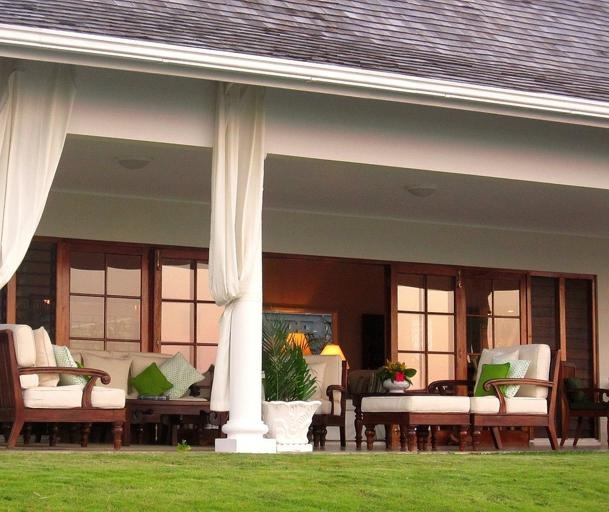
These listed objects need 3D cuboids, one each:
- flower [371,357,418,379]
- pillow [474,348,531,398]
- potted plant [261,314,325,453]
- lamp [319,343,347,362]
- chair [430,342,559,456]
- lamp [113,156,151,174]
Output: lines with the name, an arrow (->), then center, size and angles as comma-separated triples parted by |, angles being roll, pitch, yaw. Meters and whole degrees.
flower -> 0.944, 1.159, 9.325 | 0.285, 0.141, 0.302 | -3, -6, 43
pillow -> 1.820, 1.075, 8.564 | 0.142, 0.464, 0.468 | 19, -5, -33
potted plant -> -0.131, 1.100, 7.987 | 0.537, 1.059, 0.702 | 4, 3, -1
lamp -> 0.421, 1.423, 14.076 | 0.542, 0.314, 0.501 | 0, 1, 0
chair -> 1.961, 1.313, 8.650 | 0.851, 0.861, 1.140 | -3, -9, 15
lamp -> -1.599, -0.867, 8.690 | 0.320, 0.119, 0.581 | 4, 3, -11
